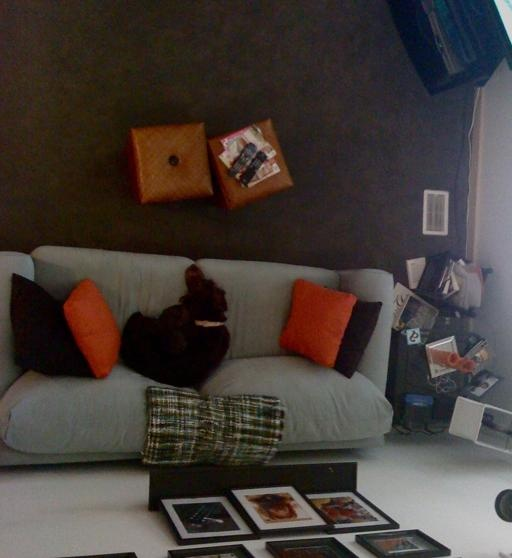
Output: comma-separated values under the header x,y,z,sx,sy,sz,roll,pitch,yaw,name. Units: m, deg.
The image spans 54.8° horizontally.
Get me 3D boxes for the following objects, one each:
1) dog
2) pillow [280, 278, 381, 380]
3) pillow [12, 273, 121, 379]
x,y,z,sx,sy,sz,roll,pitch,yaw,name
-0.493,0.181,2.679,0.215,0.441,0.549,6,-3,-39,dog
0.424,0.297,2.777,0.490,0.486,0.226,24,0,25,pillow
-0.845,0.216,2.110,0.139,0.435,0.475,-28,-16,29,pillow
